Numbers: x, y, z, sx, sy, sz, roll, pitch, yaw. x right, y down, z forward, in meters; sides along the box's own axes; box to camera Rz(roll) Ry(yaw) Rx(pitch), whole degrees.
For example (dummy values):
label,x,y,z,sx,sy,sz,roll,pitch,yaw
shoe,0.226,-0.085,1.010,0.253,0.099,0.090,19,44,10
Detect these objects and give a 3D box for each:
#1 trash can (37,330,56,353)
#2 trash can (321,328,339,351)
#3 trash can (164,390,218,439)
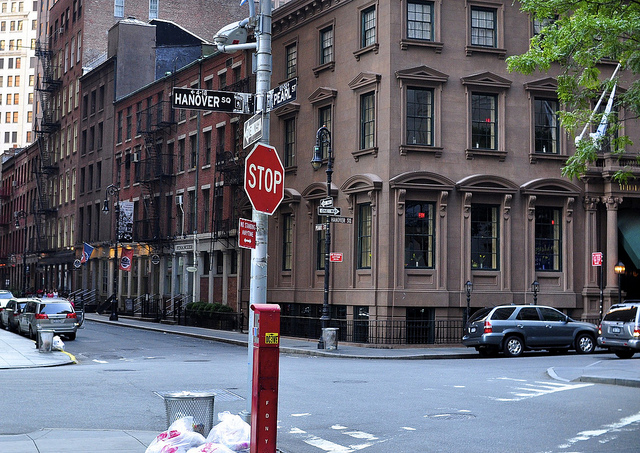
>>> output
label,x,y,z,sx,sy,sz,roll,pitch,yaw
trash can,-12.010,4.979,41.750,0.793,1.162,0.824,0,-3,-2
trash can,0.466,5.096,43.622,0.802,1.334,0.835,0,-3,0
trash can,-3.554,5.067,26.047,1.165,1.315,1.207,1,-7,-5
